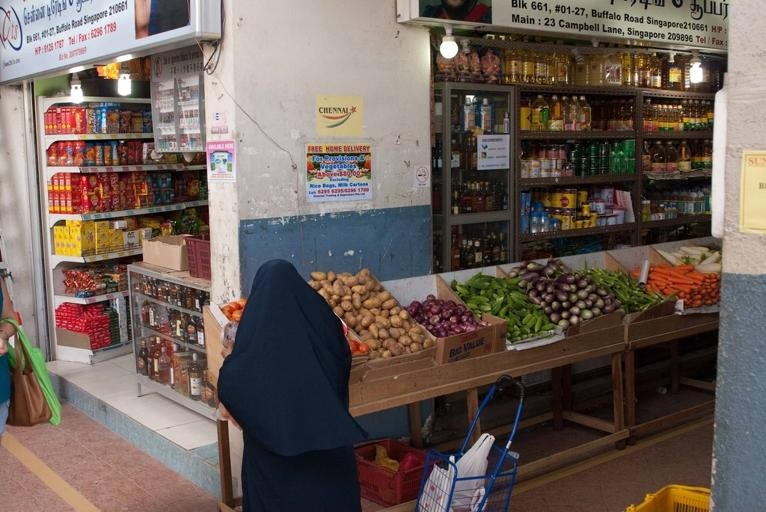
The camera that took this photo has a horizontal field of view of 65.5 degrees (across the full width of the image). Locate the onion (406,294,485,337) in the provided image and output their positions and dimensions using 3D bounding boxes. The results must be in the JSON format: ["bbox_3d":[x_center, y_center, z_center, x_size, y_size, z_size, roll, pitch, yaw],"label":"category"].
[{"bbox_3d":[0.476,0.494,4.752,0.308,0.123,0.411,-7,21,-28],"label":"onion"}]

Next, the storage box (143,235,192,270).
[{"bbox_3d":[-2.093,-0.004,5.900,0.544,0.238,0.382,5,6,40],"label":"storage box"}]
